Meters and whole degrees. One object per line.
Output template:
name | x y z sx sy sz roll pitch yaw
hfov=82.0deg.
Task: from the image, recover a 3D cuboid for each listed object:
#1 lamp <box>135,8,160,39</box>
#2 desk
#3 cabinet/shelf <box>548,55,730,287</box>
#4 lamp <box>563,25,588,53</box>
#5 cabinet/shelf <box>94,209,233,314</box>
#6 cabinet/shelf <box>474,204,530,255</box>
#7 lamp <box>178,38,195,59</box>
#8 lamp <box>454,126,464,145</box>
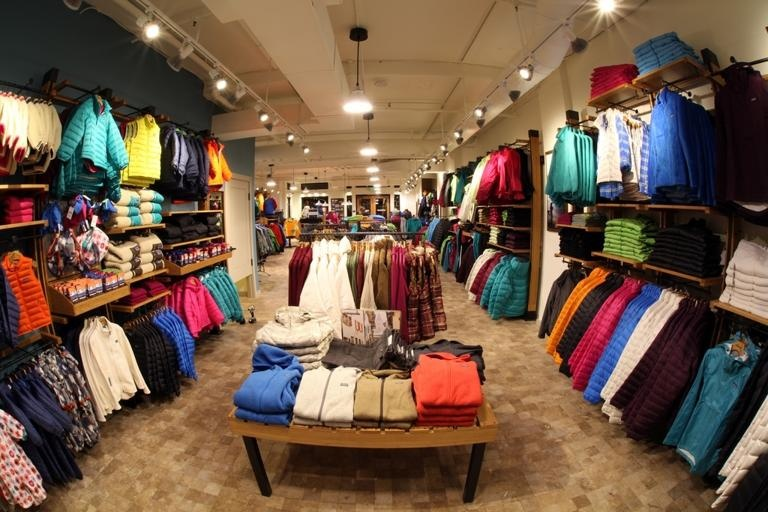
lamp | -2.459 -2.403 4.620 0.223 0.092 0.302 -19 -2 -15
desk | -0.233 1.520 4.650 2.340 0.856 1.659 6 22 -16
cabinet/shelf | 2.905 -0.933 4.651 0.555 2.247 1.385 -7 13 -34
lamp | 2.001 -2.281 4.622 0.222 0.280 0.306 6 12 28
cabinet/shelf | -2.697 -0.173 6.175 0.467 0.874 1.604 2 11 11
cabinet/shelf | 2.037 -0.529 7.562 0.416 0.840 1.729 0 11 -2
lamp | -2.163 -2.250 4.821 0.200 0.127 0.212 -25 28 5
lamp | 1.292 -2.084 7.607 0.151 0.149 0.266 -4 -12 6
